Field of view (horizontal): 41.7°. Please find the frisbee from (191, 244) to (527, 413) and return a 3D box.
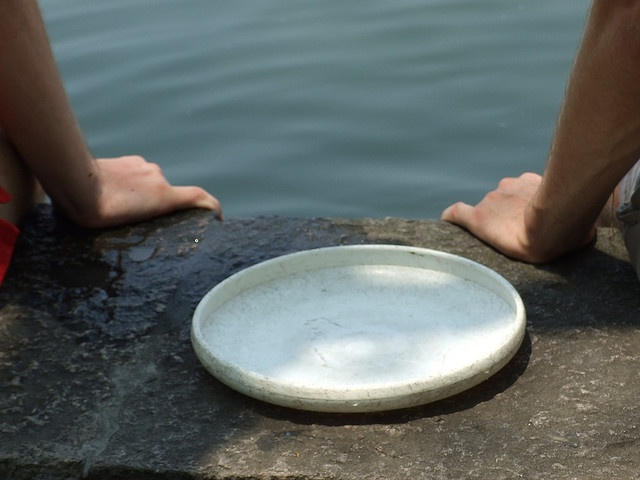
[{"bbox_3d":[0.093,0.233,2.130,0.632,0.096,0.574,-11,19,-26],"label":"frisbee"}]
